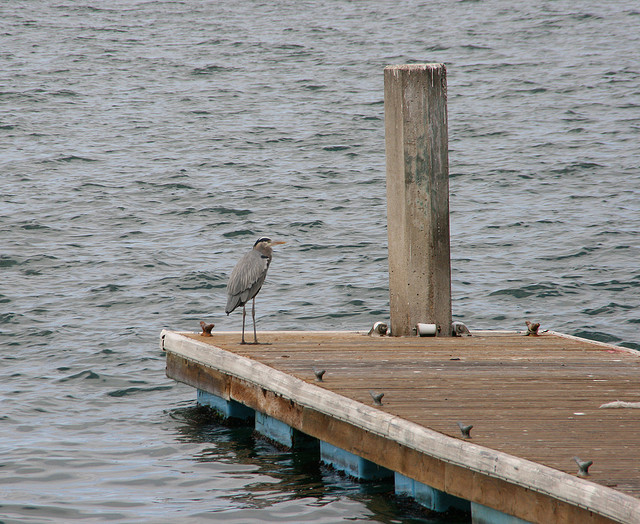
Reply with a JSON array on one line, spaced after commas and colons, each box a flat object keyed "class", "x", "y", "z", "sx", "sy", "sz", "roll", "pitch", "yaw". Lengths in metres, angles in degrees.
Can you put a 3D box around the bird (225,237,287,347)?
[{"class": "bird", "x": -1.079, "y": 0.522, "z": 35.046, "sx": 1.393, "sy": 1.973, "sz": 1.280, "roll": -4, "pitch": 14, "yaw": -12}]
